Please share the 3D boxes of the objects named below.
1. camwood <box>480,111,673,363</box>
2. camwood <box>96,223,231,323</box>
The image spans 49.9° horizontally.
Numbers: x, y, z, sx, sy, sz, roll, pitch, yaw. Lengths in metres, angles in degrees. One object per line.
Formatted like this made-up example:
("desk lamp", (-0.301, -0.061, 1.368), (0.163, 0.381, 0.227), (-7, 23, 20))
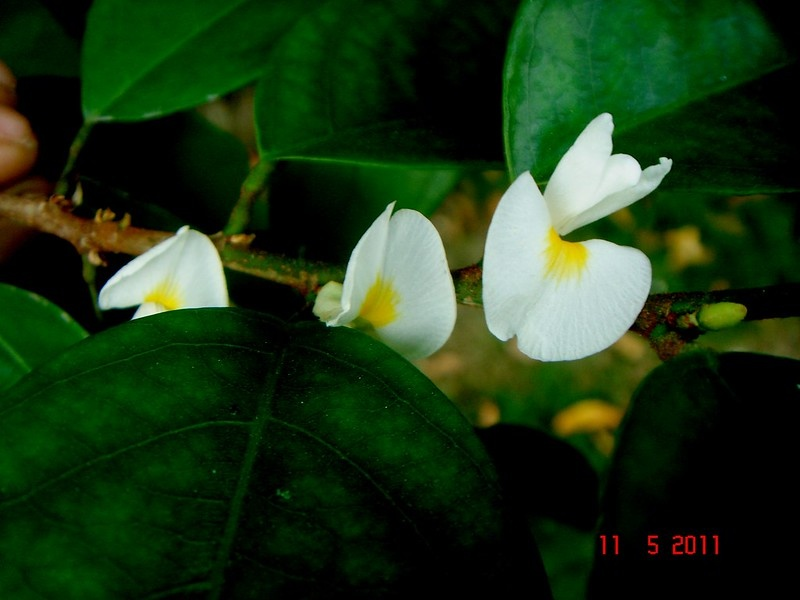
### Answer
("camwood", (0.211, -0.074, 1.056), (0.204, 0.297, 0.131), (9, 19, 6))
("camwood", (-0.299, -0.028, 1.106), (0.151, 0.132, 0.081), (8, 19, 4))
